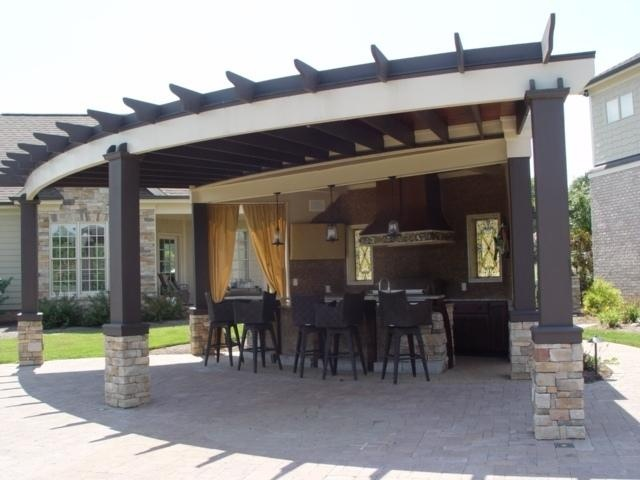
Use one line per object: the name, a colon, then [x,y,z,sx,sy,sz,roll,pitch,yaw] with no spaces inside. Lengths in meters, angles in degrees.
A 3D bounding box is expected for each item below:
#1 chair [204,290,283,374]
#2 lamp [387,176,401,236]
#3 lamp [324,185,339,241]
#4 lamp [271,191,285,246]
chair: [-1.450,1.646,10.244,1.172,1.016,1.649,-3,1,-40]
lamp: [1.400,-0.654,10.743,0.268,1.191,0.275,-3,2,-22]
lamp: [0.247,-0.575,12.550,0.263,1.242,0.977,-2,1,1]
lamp: [-0.916,-0.435,12.272,0.314,0.788,0.191,-3,1,-42]
